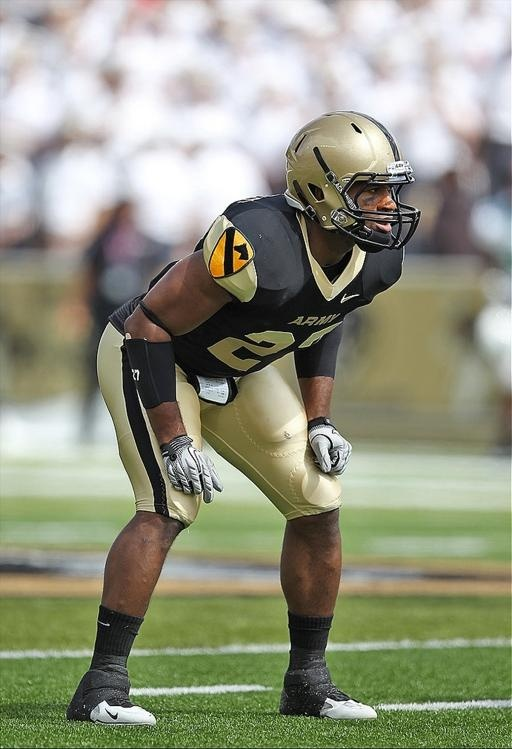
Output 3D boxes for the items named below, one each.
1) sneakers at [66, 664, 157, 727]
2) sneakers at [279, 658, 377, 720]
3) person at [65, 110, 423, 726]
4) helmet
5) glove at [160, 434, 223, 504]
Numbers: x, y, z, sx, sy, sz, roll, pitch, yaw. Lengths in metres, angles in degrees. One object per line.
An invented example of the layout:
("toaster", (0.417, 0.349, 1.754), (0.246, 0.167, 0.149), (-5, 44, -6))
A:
("sneakers", (-0.313, 0.699, 1.971), (0.249, 0.108, 0.082), (-9, -16, 39))
("sneakers", (0.179, 0.757, 2.160), (0.089, 0.127, 0.260), (16, -24, -41))
("person", (-0.005, 0.130, 2.200), (0.707, 1.580, 0.602), (9, 6, -17))
("helmet", (0.239, -0.472, 2.169), (0.360, 0.279, 0.247), (16, 24, 33))
("glove", (-0.117, 0.201, 2.023), (0.182, 0.072, 0.144), (21, 26, 39))
